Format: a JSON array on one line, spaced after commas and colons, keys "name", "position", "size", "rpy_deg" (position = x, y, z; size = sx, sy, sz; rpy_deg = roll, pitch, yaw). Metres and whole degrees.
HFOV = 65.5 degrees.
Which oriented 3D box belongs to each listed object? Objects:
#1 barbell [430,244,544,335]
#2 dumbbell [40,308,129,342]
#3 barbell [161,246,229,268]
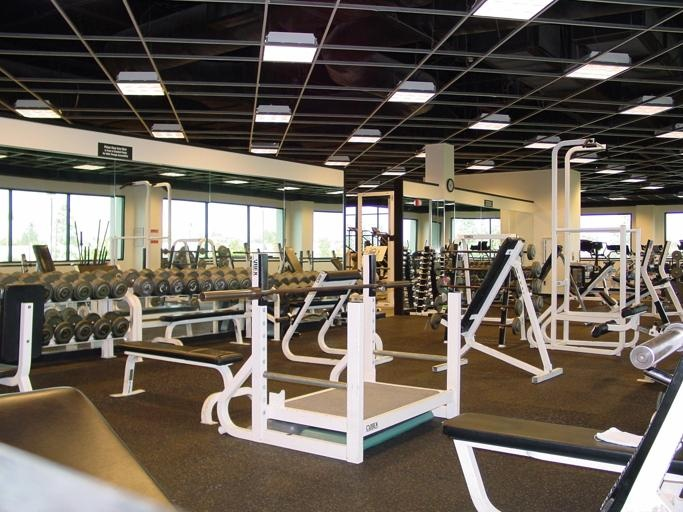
[{"name": "barbell", "position": [1.429, 0.275, 4.806], "size": [0.689, 0.882, 0.361], "rpy_deg": [0, 2, 0]}, {"name": "dumbbell", "position": [-2.524, 0.664, 5.162], "size": [0.281, 0.339, 0.904], "rpy_deg": [1, 1, 29]}, {"name": "barbell", "position": [-1.953, 0.019, 7.057], "size": [0.562, 0.152, 0.367], "rpy_deg": [2, -3, -42]}]
